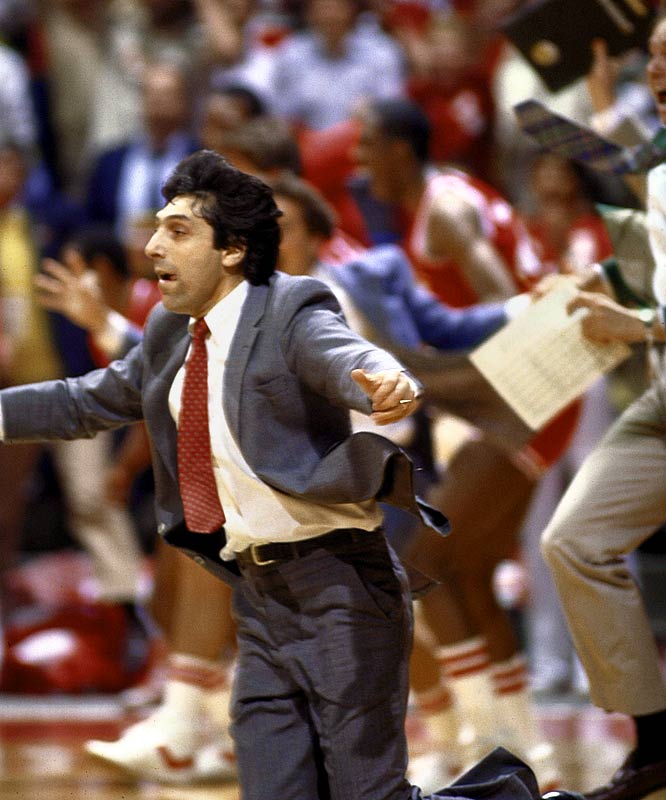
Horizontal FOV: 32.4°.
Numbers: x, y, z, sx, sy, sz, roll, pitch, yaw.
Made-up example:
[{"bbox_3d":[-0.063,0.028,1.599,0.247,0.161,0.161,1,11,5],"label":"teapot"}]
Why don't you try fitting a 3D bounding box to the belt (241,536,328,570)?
[{"bbox_3d":[-0.092,0.303,2.216,0.141,0.025,0.077,-17,-6,15],"label":"belt"}]
